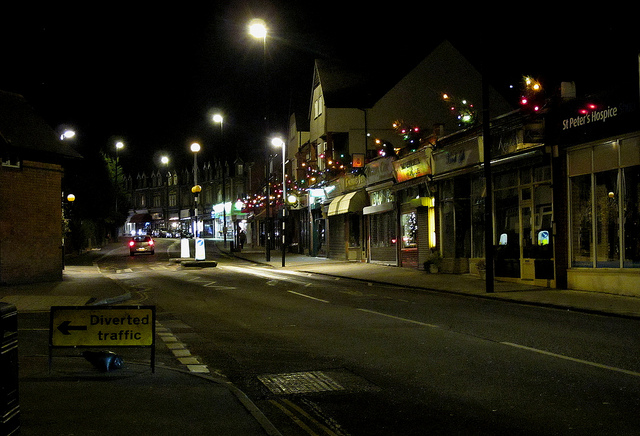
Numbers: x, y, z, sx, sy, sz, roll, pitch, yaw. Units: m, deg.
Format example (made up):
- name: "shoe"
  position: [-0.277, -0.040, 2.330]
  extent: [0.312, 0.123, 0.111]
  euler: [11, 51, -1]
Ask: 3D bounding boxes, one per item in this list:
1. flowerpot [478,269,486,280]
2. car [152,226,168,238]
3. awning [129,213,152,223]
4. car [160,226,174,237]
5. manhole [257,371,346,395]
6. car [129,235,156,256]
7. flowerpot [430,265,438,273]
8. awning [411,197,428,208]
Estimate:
- name: "flowerpot"
  position: [7.236, 2.516, 28.230]
  extent: [0.499, 0.402, 0.508]
  euler: [-2, -6, 35]
- name: "car"
  position: [-25.828, 2.258, 101.727]
  extent: [2.571, 1.399, 1.603]
  euler: [-6, -4, 33]
- name: "awning"
  position: [-32.805, -0.006, 115.476]
  extent: [1.907, 1.877, 4.764]
  euler: [4, -8, -44]
- name: "car"
  position: [-24.018, 2.116, 97.864]
  extent: [2.353, 1.242, 1.590]
  euler: [-1, 0, -7]
- name: "manhole"
  position: [-0.395, 3.233, 12.488]
  extent: [1.536, 0.245, 1.102]
  euler: [0, -6, -7]
- name: "car"
  position: [-15.134, 2.319, 54.002]
  extent: [1.767, 1.290, 3.656]
  euler: [-1, 0, -11]
- name: "flowerpot"
  position: [5.624, 2.498, 31.196]
  extent: [0.315, 0.245, 0.299]
  euler: [2, -2, -34]
- name: "awning"
  position: [5.111, -0.847, 32.624]
  extent: [0.820, 0.408, 0.500]
  euler: [-3, -6, 19]
